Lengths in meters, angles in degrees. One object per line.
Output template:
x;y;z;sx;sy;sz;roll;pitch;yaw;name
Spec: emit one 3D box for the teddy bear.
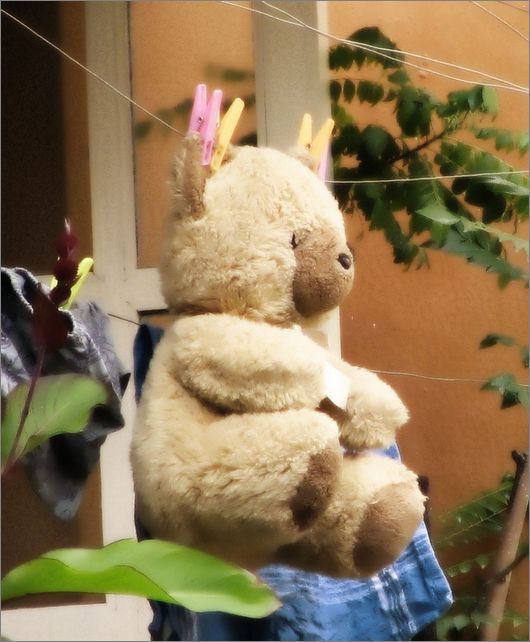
0.000;0.047;1.428;0.304;0.399;0.405;-2;35;-27;teddy bear
